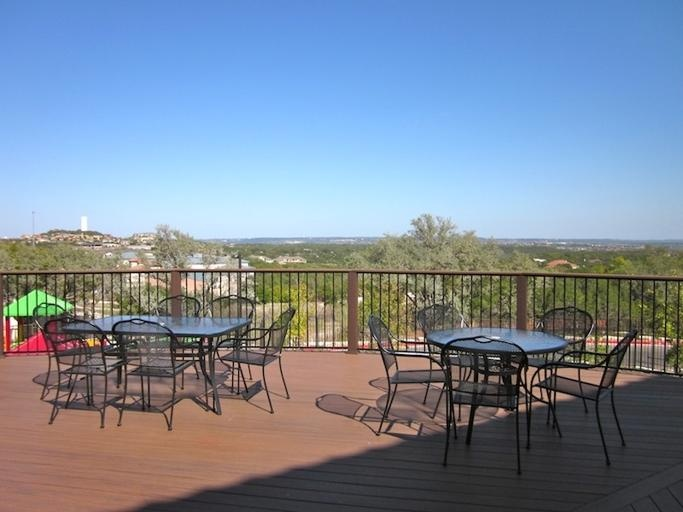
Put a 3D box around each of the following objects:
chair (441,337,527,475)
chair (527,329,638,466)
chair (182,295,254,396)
[{"bbox_3d":[1.274,1.108,4.759,0.691,1.076,1.489,2,5,16],"label":"chair"},{"bbox_3d":[2.205,1.142,4.670,0.637,0.787,0.699,-17,6,-41],"label":"chair"},{"bbox_3d":[-1.343,0.999,5.799,0.856,1.127,0.812,6,24,-7],"label":"chair"}]
